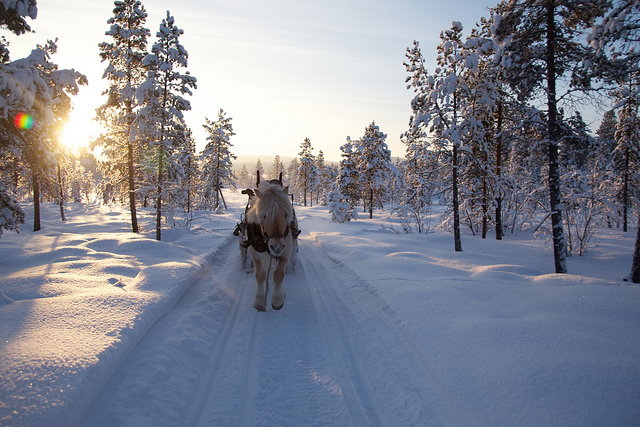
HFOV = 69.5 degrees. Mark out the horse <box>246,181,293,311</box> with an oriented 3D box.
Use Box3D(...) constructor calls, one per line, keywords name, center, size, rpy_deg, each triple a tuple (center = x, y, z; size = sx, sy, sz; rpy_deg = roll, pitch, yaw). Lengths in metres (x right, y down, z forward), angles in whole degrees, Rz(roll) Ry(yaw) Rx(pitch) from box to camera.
Box3D(name="horse", center=(-1.938, 1.224, 17.507), size=(1.680, 4.822, 1.102), rpy_deg=(2, 3, 30))
